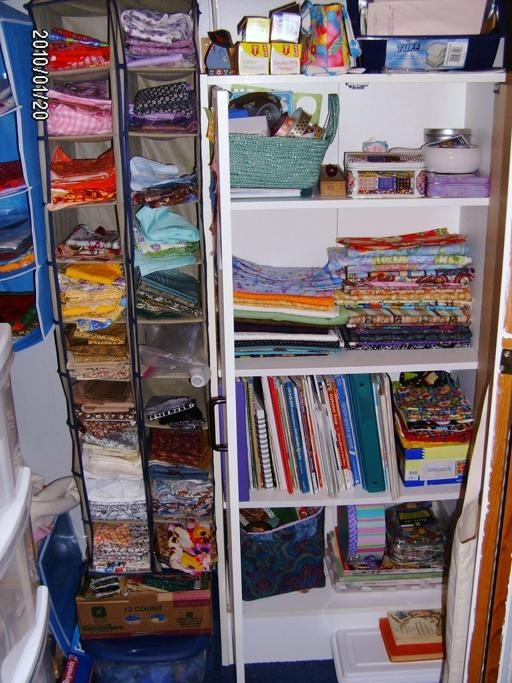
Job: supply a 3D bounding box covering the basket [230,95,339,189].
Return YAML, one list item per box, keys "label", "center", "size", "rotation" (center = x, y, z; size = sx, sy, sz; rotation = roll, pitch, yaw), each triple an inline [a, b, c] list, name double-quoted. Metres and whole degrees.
- label: "basket"
  center: [0.069, -0.504, 1.391]
  size: [0.300, 0.204, 0.175]
  rotation: [-4, 34, -1]

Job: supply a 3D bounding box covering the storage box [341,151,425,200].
- label: "storage box"
  center: [0.321, -0.414, 1.376]
  size: [0.193, 0.110, 0.091]
  rotation: [0, 22, 8]

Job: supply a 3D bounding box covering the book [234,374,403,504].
- label: "book"
  center: [0.154, 0.240, 1.756]
  size: [0.513, 0.491, 0.374]
  rotation: [-4, 4, -5]

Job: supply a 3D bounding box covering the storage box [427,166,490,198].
- label: "storage box"
  center: [0.500, -0.390, 1.372]
  size: [0.145, 0.062, 0.128]
  rotation: [-2, 21, 4]

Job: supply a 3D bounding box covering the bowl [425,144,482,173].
- label: "bowl"
  center: [0.484, -0.446, 1.356]
  size: [0.093, 0.037, 0.085]
  rotation: [-3, 25, 1]

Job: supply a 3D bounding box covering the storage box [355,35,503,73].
- label: "storage box"
  center: [0.418, -0.661, 1.273]
  size: [0.384, 0.078, 0.115]
  rotation: [-7, 22, -10]

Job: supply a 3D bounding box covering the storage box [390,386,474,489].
- label: "storage box"
  center: [0.482, 0.320, 1.735]
  size: [0.258, 0.177, 0.351]
  rotation: [0, 62, -1]
